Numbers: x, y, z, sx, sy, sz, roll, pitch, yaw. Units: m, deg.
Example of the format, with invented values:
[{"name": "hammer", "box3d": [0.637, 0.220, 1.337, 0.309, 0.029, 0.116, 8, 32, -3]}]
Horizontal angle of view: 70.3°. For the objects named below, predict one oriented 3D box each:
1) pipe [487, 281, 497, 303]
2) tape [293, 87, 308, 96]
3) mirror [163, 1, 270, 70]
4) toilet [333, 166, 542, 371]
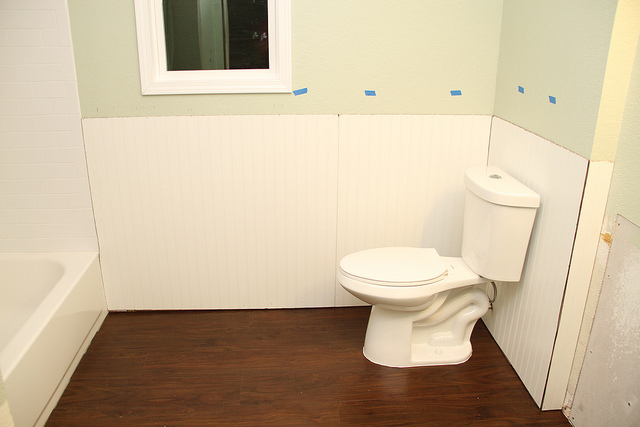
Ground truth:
[{"name": "pipe", "box3d": [1.019, 0.470, 2.668, 0.028, 0.097, 0.112, 7, -2, -8]}, {"name": "tape", "box3d": [-0.116, -0.728, 2.702, 0.081, 0.035, 0.016, -6, 25, -13]}, {"name": "mirror", "box3d": [-0.609, -1.062, 2.649, 0.476, 0.288, 0.015, -1, 24, -1]}, {"name": "toilet", "box3d": [0.585, 0.347, 2.619, 1.054, 0.950, 0.611, -2, 11, -6]}]
